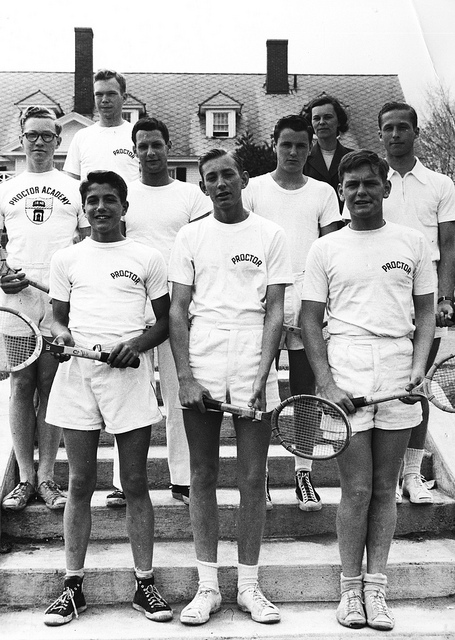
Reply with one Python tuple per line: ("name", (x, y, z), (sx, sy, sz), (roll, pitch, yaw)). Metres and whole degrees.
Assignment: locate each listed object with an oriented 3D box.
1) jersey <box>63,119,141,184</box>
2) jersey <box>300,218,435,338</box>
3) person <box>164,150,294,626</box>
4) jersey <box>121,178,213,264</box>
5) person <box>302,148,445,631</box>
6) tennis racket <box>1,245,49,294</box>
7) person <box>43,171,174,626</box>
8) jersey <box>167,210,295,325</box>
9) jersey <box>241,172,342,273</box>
("jersey", (-0.764, -1.069, 6.240), (0.610, 0.537, 0.235), (-5, 41, -16))
("jersey", (0.684, -0.177, 4.658), (0.618, 0.622, 0.335), (-4, 14, -1))
("person", (0.024, 0.317, 4.597), (0.626, 2.207, 0.846), (-2, 13, -4))
("jersey", (-0.406, -0.566, 5.533), (0.632, 0.588, 0.243), (-3, 34, -9))
("person", (0.678, 0.272, 4.666), (0.645, 2.146, 1.162), (2, 13, 11))
("tennis racket", (-1.138, -0.271, 5.277), (0.386, 0.161, 0.041), (23, -21, 10))
("person", (-0.605, 0.324, 4.796), (0.694, 2.088, 1.200), (-2, 13, -6))
("jersey", (0.013, -0.233, 4.680), (0.573, 0.548, 0.233), (1, -5, 0))
("jersey", (0.323, -0.506, 5.087), (0.565, 0.603, 0.218), (2, -1, 4))
